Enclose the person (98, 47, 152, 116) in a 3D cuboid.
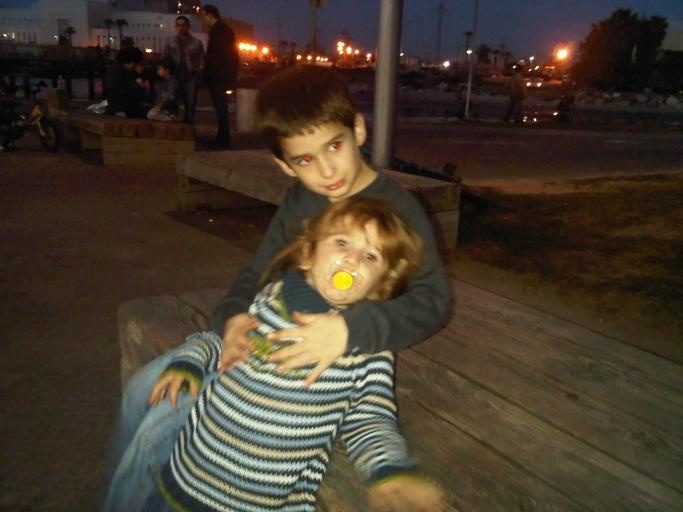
[{"bbox_3d":[-3.890,-3.137,9.230,0.652,1.256,0.575,-2,39,-24],"label":"person"}]
